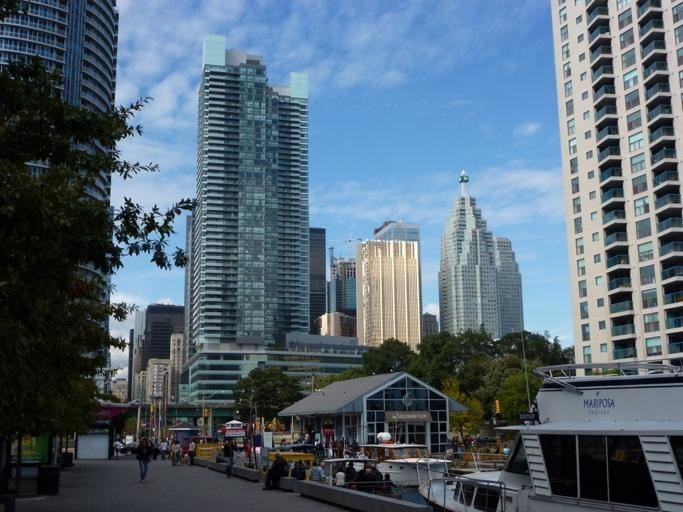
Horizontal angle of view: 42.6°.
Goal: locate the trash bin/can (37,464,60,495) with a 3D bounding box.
[{"bbox_3d":[-11.797,9.262,36.228,1.054,1.127,1.042,10,-12,-42],"label":"trash bin/can"}]
